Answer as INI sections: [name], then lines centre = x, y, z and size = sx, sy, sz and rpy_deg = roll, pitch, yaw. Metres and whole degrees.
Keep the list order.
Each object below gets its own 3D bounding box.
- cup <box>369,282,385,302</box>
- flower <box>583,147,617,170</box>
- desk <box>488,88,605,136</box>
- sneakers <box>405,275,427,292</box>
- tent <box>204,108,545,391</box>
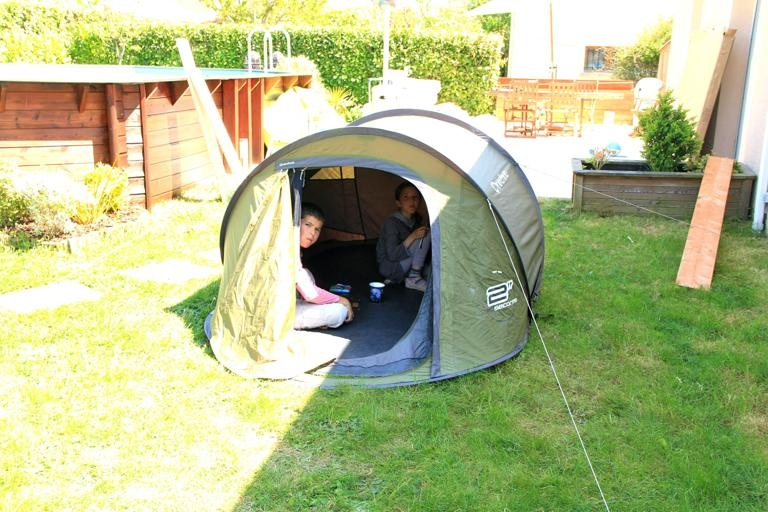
[cup]
centre = -0.091, 0.372, 6.006
size = 0.174, 0.178, 0.173
rpy_deg = 2, 13, 0
[flower]
centre = 3.384, -1.556, 8.893
size = 0.492, 0.302, 0.499
rpy_deg = -13, 23, -16
[desk]
centre = 4.435, -3.881, 15.457
size = 2.457, 0.923, 1.912
rpy_deg = -1, 24, 0
[sneakers]
centre = 0.351, 0.310, 6.319
size = 0.238, 0.097, 0.119
rpy_deg = 6, 10, 25
[tent]
centre = 0.162, 0.093, 5.931
size = 2.778, 1.744, 3.303
rpy_deg = 5, 21, 14
